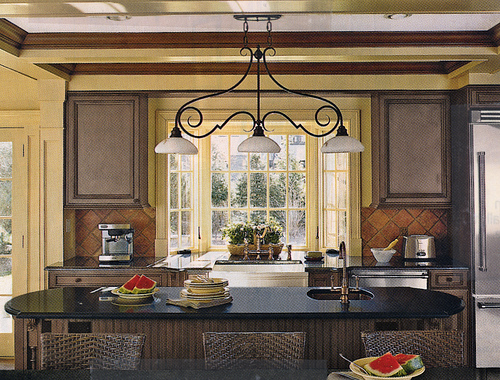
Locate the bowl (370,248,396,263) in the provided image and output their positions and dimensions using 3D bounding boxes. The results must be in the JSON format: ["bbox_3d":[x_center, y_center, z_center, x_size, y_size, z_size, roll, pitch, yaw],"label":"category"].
[{"bbox_3d":[1.366,0.654,5.956,0.173,0.071,0.184,-2,-3,0],"label":"bowl"}]

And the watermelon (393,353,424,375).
[{"bbox_3d":[1.026,1.107,3.713,0.135,0.047,0.139,1,-1,44],"label":"watermelon"}]

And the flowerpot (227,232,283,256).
[{"bbox_3d":[0.055,0.602,6.396,0.611,0.245,0.176,-1,-5,-1],"label":"flowerpot"}]

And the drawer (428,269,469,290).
[{"bbox_3d":[1.969,0.884,5.825,0.271,0.152,0.265,0,-5,3],"label":"drawer"}]

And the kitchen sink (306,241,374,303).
[{"bbox_3d":[0.735,0.652,4.829,0.589,0.433,0.535,0,0,3],"label":"kitchen sink"}]

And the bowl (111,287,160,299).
[{"bbox_3d":[-0.943,0.848,4.778,0.391,0.080,0.262,0,-4,-9],"label":"bowl"}]

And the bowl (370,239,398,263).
[{"bbox_3d":[1.397,0.637,6.011,0.281,0.163,0.204,-3,-5,13],"label":"bowl"}]

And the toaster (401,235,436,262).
[{"bbox_3d":[1.762,0.613,6.081,0.345,0.271,0.218,-2,-5,12],"label":"toaster"}]

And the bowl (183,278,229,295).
[{"bbox_3d":[-0.339,0.772,4.638,0.347,0.116,0.241,0,-4,-13],"label":"bowl"}]

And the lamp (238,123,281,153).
[{"bbox_3d":[0.069,-0.410,4.599,0.235,0.240,0.258,-5,-6,39],"label":"lamp"}]

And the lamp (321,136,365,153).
[{"bbox_3d":[0.776,-0.376,4.787,0.330,0.109,0.305,-1,-3,3],"label":"lamp"}]

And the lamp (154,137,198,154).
[{"bbox_3d":[-0.634,-0.369,4.828,0.324,0.110,0.300,-1,-3,10],"label":"lamp"}]

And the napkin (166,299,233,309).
[{"bbox_3d":[-0.382,0.889,4.498,0.516,0.043,0.172,0,-4,-8],"label":"napkin"}]

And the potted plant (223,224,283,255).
[{"bbox_3d":[0.002,0.552,6.514,0.699,0.305,0.379,1,-4,-9],"label":"potted plant"}]
